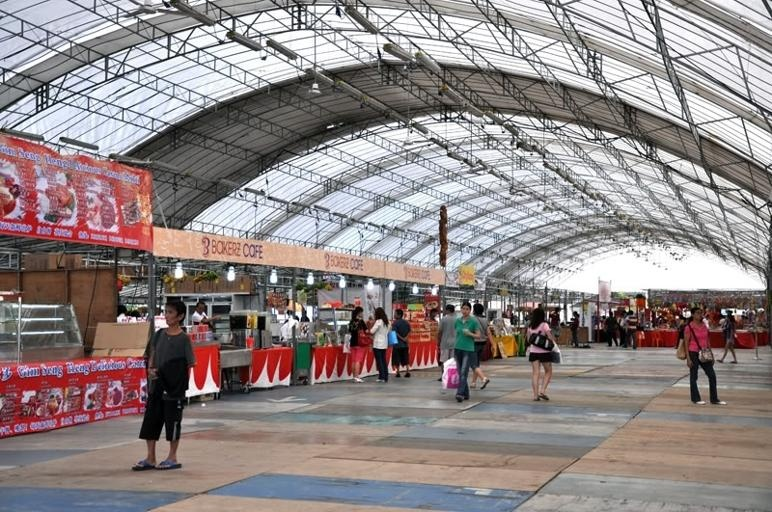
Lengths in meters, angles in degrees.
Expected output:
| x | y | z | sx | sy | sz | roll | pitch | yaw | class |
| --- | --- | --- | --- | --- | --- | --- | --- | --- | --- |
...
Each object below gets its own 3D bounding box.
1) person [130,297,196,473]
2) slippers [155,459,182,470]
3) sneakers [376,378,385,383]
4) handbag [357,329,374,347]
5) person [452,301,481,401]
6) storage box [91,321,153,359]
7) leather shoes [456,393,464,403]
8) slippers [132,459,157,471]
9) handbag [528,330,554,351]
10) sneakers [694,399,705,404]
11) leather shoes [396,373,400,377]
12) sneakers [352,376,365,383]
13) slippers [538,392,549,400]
| x | y | z | sx | sy | sz | roll | pitch | yaw | class |
| --- | --- | --- | --- | --- | --- | --- | --- | --- | --- |
| -2.847 | 1.612 | 7.252 | 0.674 | 2.131 | 0.787 | 1 | -7 | -23 | person |
| -2.697 | 2.601 | 7.055 | 0.307 | 0.116 | 0.182 | 4 | -9 | -39 | slippers |
| -0.146 | 3.582 | 16.271 | 0.266 | 0.083 | 0.370 | -1 | -7 | -4 | sneakers |
| -0.632 | 2.372 | 16.506 | 0.280 | 0.483 | 0.566 | -10 | -11 | 28 | handbag |
| 1.822 | 2.114 | 12.656 | 0.603 | 2.179 | 1.327 | -3 | -7 | 8 | person |
| -5.427 | 1.817 | 12.176 | 1.464 | 0.703 | 0.893 | 0 | -8 | 9 | storage box |
| 1.602 | 3.096 | 12.313 | 0.084 | 0.216 | 0.092 | -9 | 31 | 23 | leather shoes |
| -3.066 | 2.615 | 7.057 | 0.323 | 0.113 | 0.110 | 2 | -9 | 5 | slippers |
| 3.379 | 1.851 | 12.279 | 0.507 | 0.302 | 0.149 | 22 | 8 | 5 | handbag |
| 6.810 | 3.159 | 12.230 | 0.104 | 0.123 | 0.320 | -5 | -13 | 7 | sneakers |
| 0.383 | 3.753 | 17.731 | 0.113 | 0.174 | 0.105 | 0 | -13 | 8 | leather shoes |
| -0.827 | 3.584 | 16.340 | 0.187 | 0.095 | 0.277 | 3 | -9 | -30 | sneakers |
| 3.504 | 3.132 | 12.510 | 0.101 | 0.102 | 0.279 | 5 | -5 | 35 | slippers |
